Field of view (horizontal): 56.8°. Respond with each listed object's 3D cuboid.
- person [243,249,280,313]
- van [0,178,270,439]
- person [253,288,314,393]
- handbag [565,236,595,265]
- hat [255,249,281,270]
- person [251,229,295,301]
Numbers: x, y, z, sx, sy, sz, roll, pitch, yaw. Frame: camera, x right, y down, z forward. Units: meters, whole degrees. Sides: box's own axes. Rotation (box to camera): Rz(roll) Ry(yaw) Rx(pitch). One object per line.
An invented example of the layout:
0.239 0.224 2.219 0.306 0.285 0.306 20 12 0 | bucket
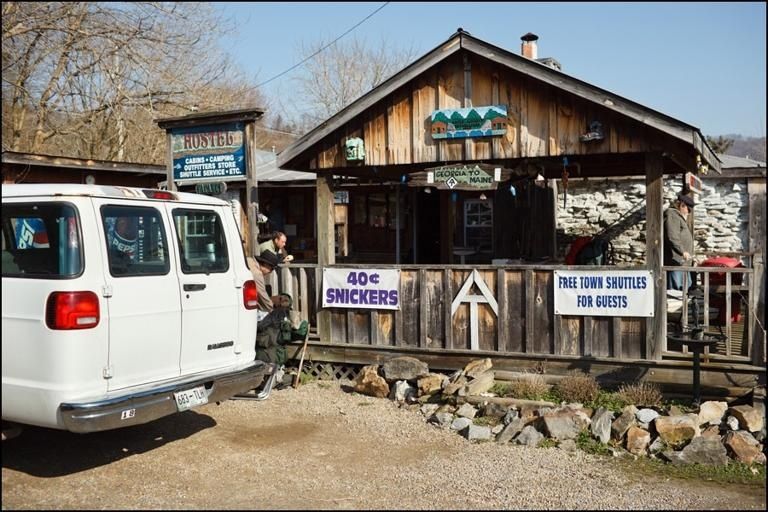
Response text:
-2.130 0.441 12.296 0.570 1.121 0.675 -3 23 -22 | person
-3.649 0.670 9.524 3.087 2.631 3.624 2 3 25 | van
-1.836 1.378 12.176 0.762 1.485 0.699 5 3 13 | person
3.560 -0.099 13.002 0.451 0.432 0.827 -1 4 15 | handbag
-2.037 0.035 12.425 0.306 0.135 0.349 24 -6 39 | hat
-2.010 0.111 13.185 0.567 1.017 0.449 6 16 10 | person
